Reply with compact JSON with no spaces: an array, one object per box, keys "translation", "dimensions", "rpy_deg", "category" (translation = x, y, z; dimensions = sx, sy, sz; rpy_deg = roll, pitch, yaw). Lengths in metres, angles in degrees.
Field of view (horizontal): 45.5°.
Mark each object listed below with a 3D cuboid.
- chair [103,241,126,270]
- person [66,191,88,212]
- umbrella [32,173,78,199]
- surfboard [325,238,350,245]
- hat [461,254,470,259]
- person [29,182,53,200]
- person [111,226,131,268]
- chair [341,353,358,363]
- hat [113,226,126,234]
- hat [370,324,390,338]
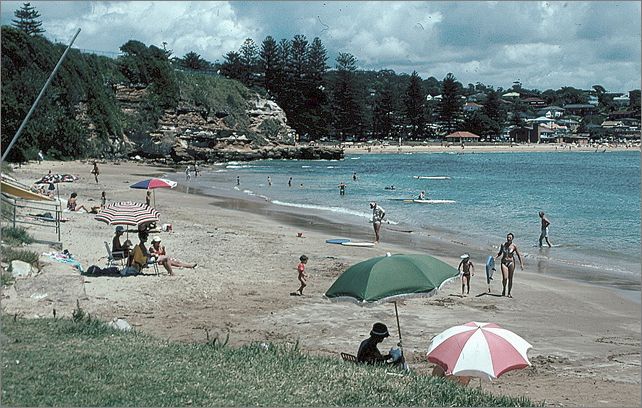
[{"translation":[-9.657,2.404,35.443],"dimensions":[1.196,1.602,1.235],"rpy_deg":[1,3,-5],"category":"chair"},{"translation":[-14.468,-0.083,44.677],"dimensions":[0.946,1.227,1.225],"rpy_deg":[13,18,26],"category":"person"},{"translation":[-16.663,-1.074,48.097],"dimensions":[2.092,1.473,2.099],"rpy_deg":[3,14,17],"category":"umbrella"},{"translation":[0.882,2.079,41.751],"dimensions":[1.274,0.163,1.160],"rpy_deg":[3,1,-3],"category":"surfboard"},{"translation":[6.515,2.455,34.596],"dimensions":[0.274,0.188,0.366],"rpy_deg":[-2,3,40],"category":"hat"},{"translation":[-15.054,-0.668,41.234],"dimensions":[1.609,0.617,1.164],"rpy_deg":[13,1,-33],"category":"person"},{"translation":[-9.118,1.819,35.073],"dimensions":[1.223,1.521,0.714],"rpy_deg":[4,2,26],"category":"person"},{"translation":[1.045,5.860,28.886],"dimensions":[0.633,0.414,0.255],"rpy_deg":[13,32,32],"category":"chair"},{"translation":[-9.314,1.207,35.121],"dimensions":[0.422,0.222,0.332],"rpy_deg":[-11,-11,35],"category":"hat"},{"translation":[2.245,4.733,28.343],"dimensions":[0.494,0.397,0.682],"rpy_deg":[4,3,31],"category":"hat"}]
